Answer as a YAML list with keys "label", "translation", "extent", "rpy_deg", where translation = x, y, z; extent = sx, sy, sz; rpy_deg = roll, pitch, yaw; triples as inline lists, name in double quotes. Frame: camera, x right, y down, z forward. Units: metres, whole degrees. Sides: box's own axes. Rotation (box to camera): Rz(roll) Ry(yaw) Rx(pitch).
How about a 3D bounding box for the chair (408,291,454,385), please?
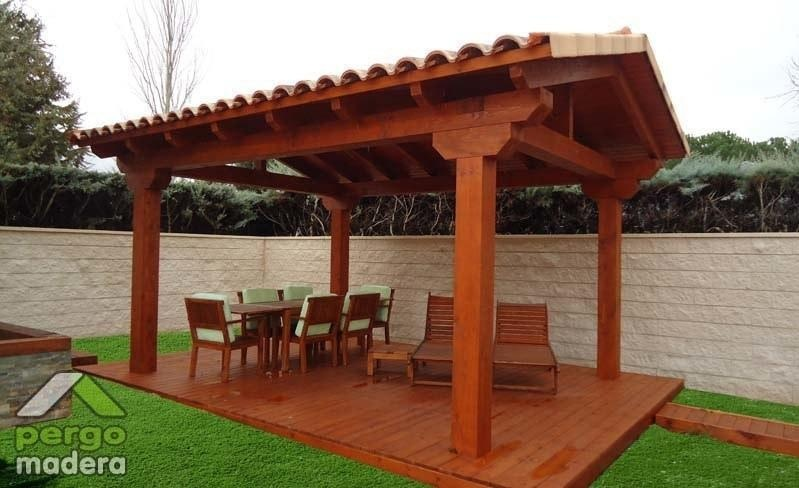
- label: "chair"
  translation: [0.633, 1.605, 7.989]
  extent: [0.753, 0.842, 1.315]
  rpy_deg: [2, 12, 14]

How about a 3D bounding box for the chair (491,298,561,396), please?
- label: "chair"
  translation: [1.951, 1.559, 7.785]
  extent: [0.970, 1.007, 1.609]
  rpy_deg: [0, 8, 13]
